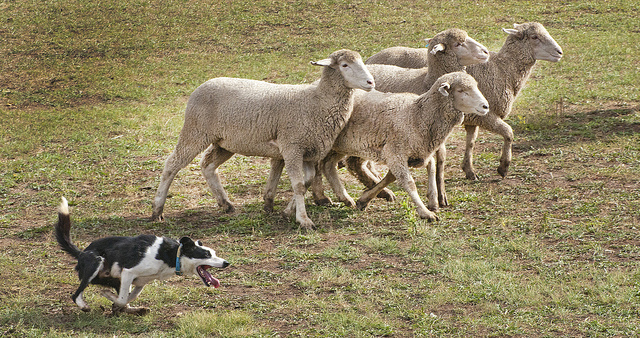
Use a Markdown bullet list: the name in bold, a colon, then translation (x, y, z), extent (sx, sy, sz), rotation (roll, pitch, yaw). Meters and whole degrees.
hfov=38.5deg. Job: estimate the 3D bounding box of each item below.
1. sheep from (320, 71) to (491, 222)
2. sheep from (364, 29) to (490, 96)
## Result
- **sheep**: translation (2.262, -0.694, 25.551), extent (4.303, 3.910, 1.388), rotation (-1, 16, 5)
- **sheep**: translation (3.307, -3.296, 27.196), extent (3.824, 1.884, 1.838), rotation (0, 21, 6)
